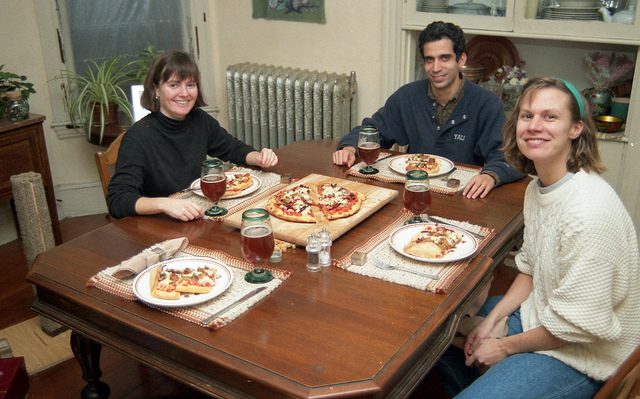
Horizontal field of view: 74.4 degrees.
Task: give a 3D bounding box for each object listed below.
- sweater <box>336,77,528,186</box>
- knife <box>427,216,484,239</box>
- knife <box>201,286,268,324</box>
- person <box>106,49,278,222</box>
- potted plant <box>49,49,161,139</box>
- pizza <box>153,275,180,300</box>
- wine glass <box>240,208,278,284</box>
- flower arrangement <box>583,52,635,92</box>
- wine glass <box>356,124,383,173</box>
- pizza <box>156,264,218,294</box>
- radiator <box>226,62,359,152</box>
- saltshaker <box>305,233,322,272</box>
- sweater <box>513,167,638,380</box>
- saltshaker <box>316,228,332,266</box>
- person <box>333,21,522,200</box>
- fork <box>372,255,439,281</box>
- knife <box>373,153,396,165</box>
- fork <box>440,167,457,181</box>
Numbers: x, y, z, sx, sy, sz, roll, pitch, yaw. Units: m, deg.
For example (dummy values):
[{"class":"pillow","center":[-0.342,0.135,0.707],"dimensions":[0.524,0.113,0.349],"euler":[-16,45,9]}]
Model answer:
[{"class":"sweater","center":[0.732,-0.465,2.733],"dimensions":[0.705,0.456,1.336],"euler":[-26,28,-25]},{"class":"knife","center":[0.582,0.125,1.828],"dimensions":[0.194,0.015,0.020],"euler":[20,40,6]},{"class":"knife","center":[-0.312,0.379,1.494],"dimensions":[0.232,0.013,0.032],"euler":[-26,50,-36]},{"class":"person","center":[-0.798,-0.373,2.269],"dimensions":[0.579,0.789,0.891],"euler":[3,21,12]},{"class":"potted plant","center":[-1.956,-0.904,3.894],"dimensions":[0.767,0.629,0.914],"euler":[-13,18,-43]},{"class":"pizza","center":[-0.551,0.315,1.516],"dimensions":[0.077,0.024,0.080],"euler":[3,41,3]},{"class":"wine glass","center":[-0.242,0.154,1.627],"dimensions":[0.152,0.283,0.230],"euler":[-7,21,-12]},{"class":"flower arrangement","center":[2.104,-0.966,3.206],"dimensions":[0.318,0.285,0.304],"euler":[-1,24,-3]},{"class":"wine glass","center":[0.219,-0.254,2.277],"dimensions":[0.133,0.237,0.133],"euler":[-7,0,-24]},{"class":"pizza","center":[-0.484,0.288,1.545],"dimensions":[0.121,0.028,0.123],"euler":[3,27,5]},{"class":"radiator","center":[-0.224,-0.881,3.908],"dimensions":[0.991,1.079,0.230],"euler":[10,27,25]},{"class":"saltshaker","center":[-0.031,0.213,1.683],"dimensions":[0.070,0.153,0.068],"euler":[-1,13,1]},{"class":"sweater","center":[0.992,0.314,1.641],"dimensions":[0.421,0.679,0.612],"euler":[-5,22,19]},{"class":"saltshaker","center":[0.011,0.194,1.713],"dimensions":[0.080,0.145,0.077],"euler":[-2,5,-21]},{"class":"person","center":[0.706,-0.597,2.712],"dimensions":[1.183,0.873,0.798],"euler":[17,28,40]},{"class":"fork","center":[0.340,0.272,1.653],"dimensions":[0.173,0.020,0.025],"euler":[20,42,13]},{"class":"knife","center":[0.365,-0.229,2.433],"dimensions":[0.026,0.023,0.200],"euler":[33,34,30]},{"class":"fork","center":[0.689,-0.133,2.285],"dimensions":[0.110,0.016,0.016],"euler":[-41,23,-21]}]
